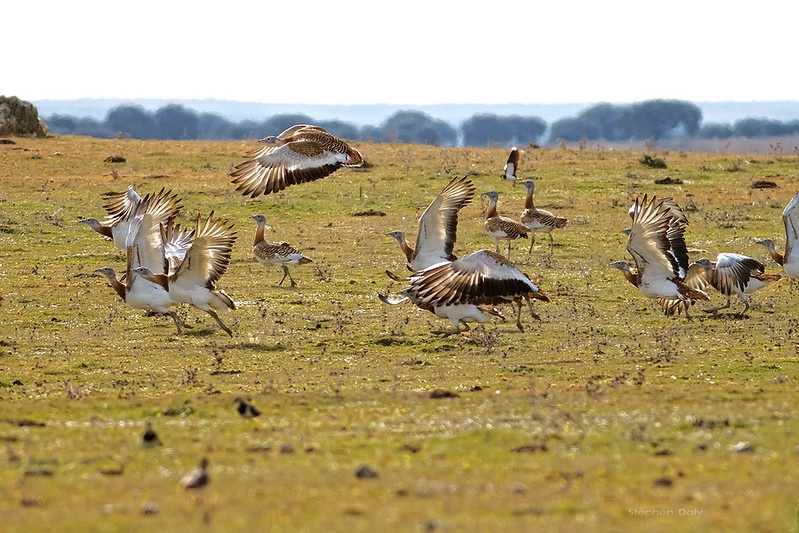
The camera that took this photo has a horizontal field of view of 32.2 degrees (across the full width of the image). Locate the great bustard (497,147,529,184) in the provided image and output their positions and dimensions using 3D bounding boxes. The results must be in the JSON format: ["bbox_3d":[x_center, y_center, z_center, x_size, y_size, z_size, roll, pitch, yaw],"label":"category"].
[{"bbox_3d":[4.044,-3.584,48.867,1.162,0.646,2.284,5,-21,1],"label":"great bustard"}]
